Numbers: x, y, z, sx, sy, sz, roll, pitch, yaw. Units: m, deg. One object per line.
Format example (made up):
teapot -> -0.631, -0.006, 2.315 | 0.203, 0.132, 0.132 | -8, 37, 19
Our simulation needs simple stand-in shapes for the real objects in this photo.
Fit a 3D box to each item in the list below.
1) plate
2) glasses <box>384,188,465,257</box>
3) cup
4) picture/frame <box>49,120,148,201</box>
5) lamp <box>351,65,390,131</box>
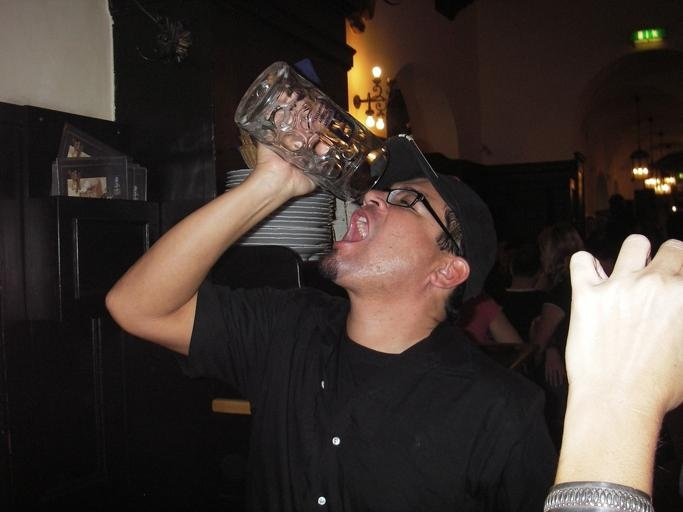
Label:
plate -> -0.194, -0.111, 2.192 | 0.372, 0.228, 0.376 | 0, -9, 2
glasses -> 0.269, -0.130, 1.744 | 0.217, 0.060, 0.209 | 45, -6, -25
cup -> -0.081, -0.341, 1.534 | 0.439, 0.341, 0.169 | 1, 6, -37
picture/frame -> -0.936, -0.360, 2.066 | 0.394, 0.360, 0.064 | -7, -23, -43
lamp -> 0.259, -1.333, 4.696 | 0.264, 0.530, 0.157 | -2, 1, 23
